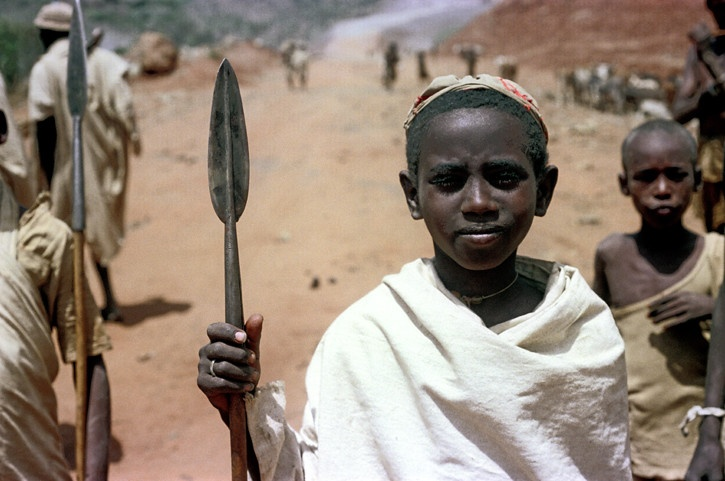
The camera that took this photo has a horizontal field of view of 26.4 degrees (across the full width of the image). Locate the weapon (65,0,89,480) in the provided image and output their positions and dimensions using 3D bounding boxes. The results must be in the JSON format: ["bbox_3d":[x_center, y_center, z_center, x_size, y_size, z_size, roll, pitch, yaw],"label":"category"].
[{"bbox_3d":[-2.497,0.017,13.704,0.201,4.158,0.725,-2,4,-11],"label":"weapon"}]

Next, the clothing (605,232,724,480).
[{"bbox_3d":[2.649,1.096,13.379,0.664,1.746,1.451,10,-9,41],"label":"clothing"}]
